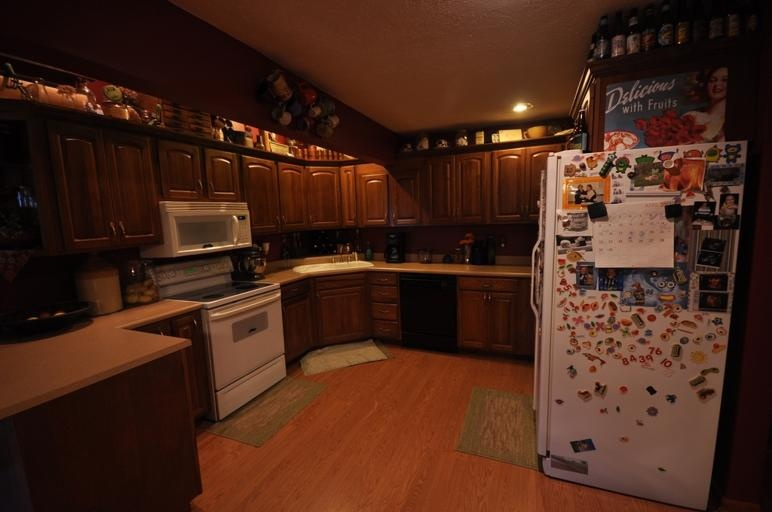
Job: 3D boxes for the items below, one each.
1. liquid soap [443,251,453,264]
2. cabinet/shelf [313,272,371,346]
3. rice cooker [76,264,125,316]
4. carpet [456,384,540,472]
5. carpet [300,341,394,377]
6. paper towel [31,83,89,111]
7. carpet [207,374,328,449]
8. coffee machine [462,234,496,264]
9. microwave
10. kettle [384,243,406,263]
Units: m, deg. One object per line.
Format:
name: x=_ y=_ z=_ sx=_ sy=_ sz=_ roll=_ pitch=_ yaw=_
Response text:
liquid soap: x=0.708 y=0.035 z=5.552 sx=0.104 sy=0.100 sz=0.105 roll=0 pitch=4 yaw=12
cabinet/shelf: x=-0.432 y=0.655 z=5.509 sx=0.716 sy=0.845 sz=0.661 roll=-13 pitch=-24 yaw=19
rice cooker: x=-2.229 y=0.207 z=3.831 sx=0.244 sy=0.427 sz=0.252 roll=2 pitch=6 yaw=39
carpet: x=0.921 y=1.382 z=4.014 sx=0.589 sy=0.296 sz=0.798 roll=-2 pitch=6 yaw=15
carpet: x=-0.467 y=1.044 z=5.076 sx=0.882 sy=0.096 sz=0.529 roll=-6 pitch=6 yaw=-23
paper towel: x=-2.385 y=-1.168 z=3.588 sx=0.182 sy=0.115 sz=0.241 roll=6 pitch=7 yaw=38
carpet: x=-0.976 y=1.317 z=4.236 sx=0.482 sy=0.010 sz=0.880 roll=11 pitch=23 yaw=26
coffee machine: x=1.055 y=-0.052 z=5.481 sx=0.425 sy=0.413 sz=0.321 roll=0 pitch=0 yaw=20
microwave: x=-1.670 y=-0.253 z=4.317 sx=0.553 sy=0.481 sz=0.842 roll=7 pitch=8 yaw=33
kettle: x=0.105 y=-0.040 z=5.637 sx=0.184 sy=0.342 sz=0.211 roll=0 pitch=-1 yaw=13
